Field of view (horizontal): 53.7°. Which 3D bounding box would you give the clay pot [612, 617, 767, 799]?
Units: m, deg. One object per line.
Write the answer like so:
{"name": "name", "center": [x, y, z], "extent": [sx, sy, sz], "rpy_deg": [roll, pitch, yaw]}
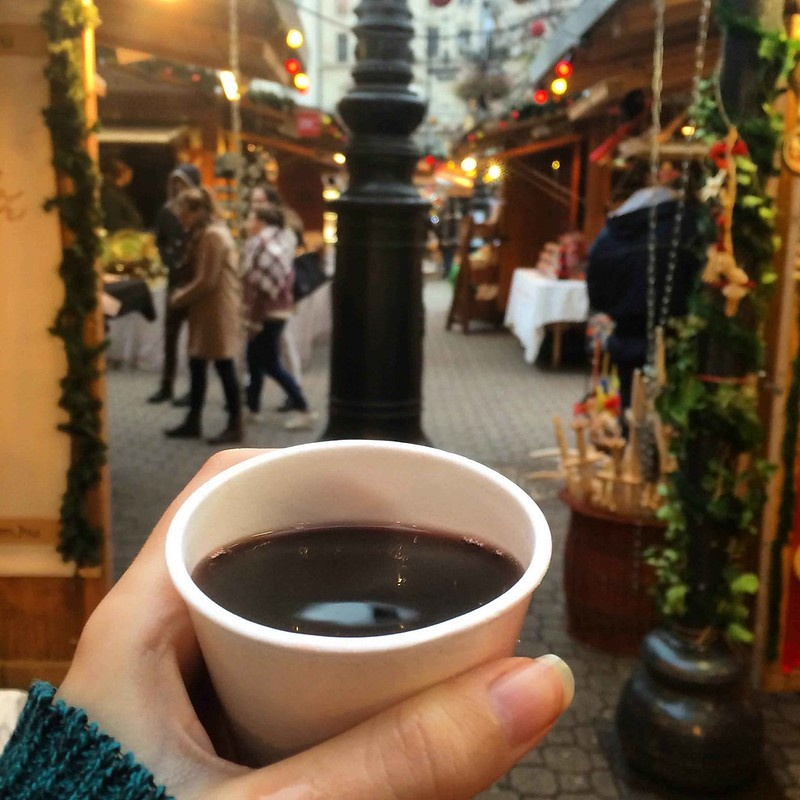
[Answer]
{"name": "clay pot", "center": [0.844, 0.862, 2.350], "extent": [0.431, 0.406, 0.437], "rpy_deg": [2, -1, 0]}

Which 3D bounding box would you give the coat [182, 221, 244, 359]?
{"name": "coat", "center": [-0.395, -0.230, 1.653], "extent": [0.146, 0.277, 0.184], "rpy_deg": [4, 29, -6]}

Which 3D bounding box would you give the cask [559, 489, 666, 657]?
{"name": "cask", "center": [0.738, 0.587, 2.636], "extent": [0.367, 0.466, 0.367], "rpy_deg": [3, 3, 4]}

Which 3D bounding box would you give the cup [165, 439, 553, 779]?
{"name": "cup", "center": [-0.016, 0.146, 0.588], "extent": [0.258, 0.186, 0.244], "rpy_deg": [1, 27, 0]}

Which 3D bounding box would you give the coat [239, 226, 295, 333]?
{"name": "coat", "center": [-0.334, -0.312, 2.058], "extent": [0.107, 0.169, 0.277], "rpy_deg": [-18, 33, 7]}
